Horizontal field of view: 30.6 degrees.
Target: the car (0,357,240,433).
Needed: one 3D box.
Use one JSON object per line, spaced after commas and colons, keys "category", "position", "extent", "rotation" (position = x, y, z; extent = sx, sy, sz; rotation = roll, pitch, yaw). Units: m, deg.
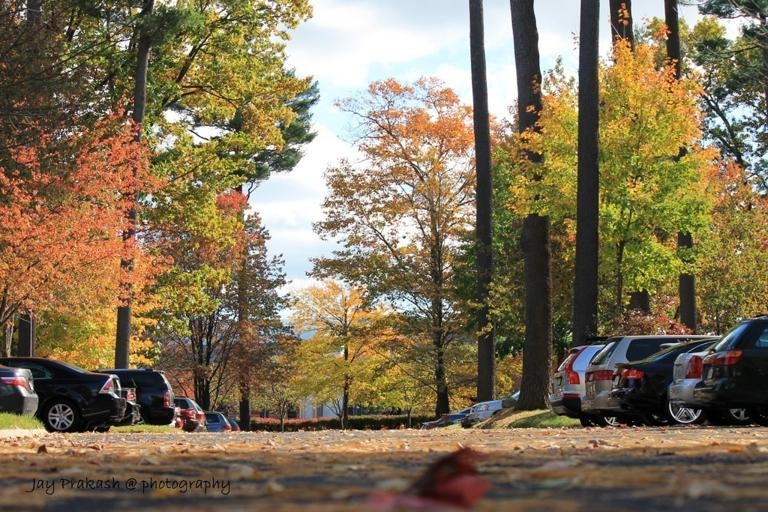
{"category": "car", "position": [-8.615, 4.481, 45.695], "extent": [5.803, 1.760, 2.494], "rotation": [0, -8, -7]}
